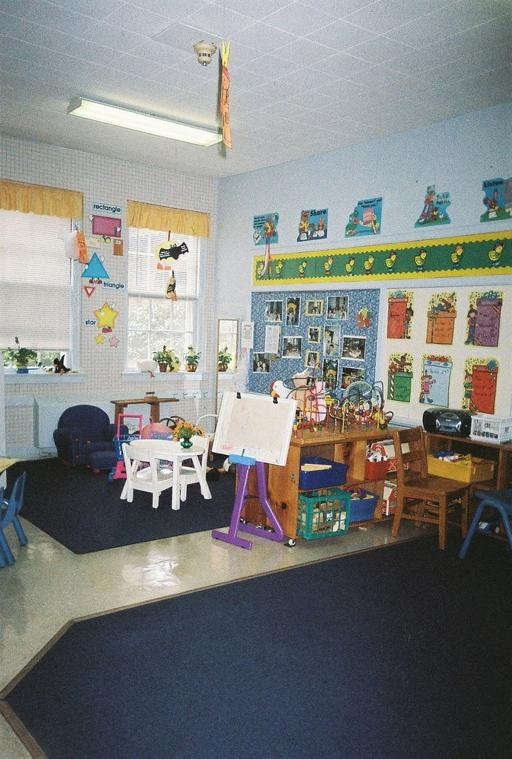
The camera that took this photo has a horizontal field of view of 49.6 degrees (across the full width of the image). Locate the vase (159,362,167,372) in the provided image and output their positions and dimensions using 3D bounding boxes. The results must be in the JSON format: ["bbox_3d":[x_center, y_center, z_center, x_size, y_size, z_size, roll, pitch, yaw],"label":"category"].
[{"bbox_3d":[-1.405,-0.184,8.365,0.131,0.158,0.078,1,3,-27],"label":"vase"}]

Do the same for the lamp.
[{"bbox_3d":[-1.116,-2.694,5.797,1.604,0.169,0.558,1,3,-35],"label":"lamp"}]

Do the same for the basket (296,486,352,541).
[{"bbox_3d":[0.554,1.117,4.531,0.383,0.271,0.231,1,-10,-20],"label":"basket"}]

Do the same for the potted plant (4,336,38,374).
[{"bbox_3d":[-3.018,-0.315,7.061,0.449,0.503,0.448,0,1,-30],"label":"potted plant"}]

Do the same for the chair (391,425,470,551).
[{"bbox_3d":[1.469,0.860,4.620,0.607,0.837,0.619,-2,4,-19],"label":"chair"}]

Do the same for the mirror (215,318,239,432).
[{"bbox_3d":[-0.435,-0.228,8.222,0.343,1.338,0.483,2,3,-4],"label":"mirror"}]

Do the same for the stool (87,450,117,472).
[{"bbox_3d":[-1.823,0.927,6.533,0.266,0.224,0.263,-1,2,-39],"label":"stool"}]

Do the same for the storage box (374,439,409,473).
[{"bbox_3d":[1.187,0.678,4.880,0.203,0.255,0.368,-4,7,-24],"label":"storage box"}]

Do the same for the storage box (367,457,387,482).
[{"bbox_3d":[1.064,0.804,4.962,0.199,0.159,0.162,3,-4,-27],"label":"storage box"}]

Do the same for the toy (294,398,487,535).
[{"bbox_3d":[1.155,0.737,4.760,1.059,0.789,1.262,-5,7,-44],"label":"toy"}]

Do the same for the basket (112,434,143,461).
[{"bbox_3d":[-1.370,0.722,5.864,0.246,0.255,0.296,11,12,41],"label":"basket"}]

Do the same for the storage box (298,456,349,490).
[{"bbox_3d":[0.431,0.775,4.590,0.435,0.196,0.521,5,3,44],"label":"storage box"}]

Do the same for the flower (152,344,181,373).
[{"bbox_3d":[-1.357,-0.317,8.484,0.502,0.418,0.213,0,4,-43],"label":"flower"}]

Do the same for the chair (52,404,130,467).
[{"bbox_3d":[-2.048,0.730,6.882,0.721,0.806,0.866,0,2,-35],"label":"chair"}]

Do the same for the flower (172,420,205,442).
[{"bbox_3d":[-0.689,0.532,5.482,0.221,0.214,0.261,2,5,-7],"label":"flower"}]

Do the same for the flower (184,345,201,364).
[{"bbox_3d":[-1.008,-0.383,8.698,0.232,0.285,0.288,-2,-7,-1],"label":"flower"}]

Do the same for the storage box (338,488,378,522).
[{"bbox_3d":[0.916,1.092,4.769,0.330,0.240,0.264,-4,7,-36],"label":"storage box"}]

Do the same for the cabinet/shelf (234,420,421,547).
[{"bbox_3d":[0.519,0.464,4.827,1.582,1.097,0.854,-2,5,-37],"label":"cabinet/shelf"}]

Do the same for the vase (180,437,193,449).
[{"bbox_3d":[-0.680,0.606,5.408,0.105,0.098,0.101,-2,8,-19],"label":"vase"}]

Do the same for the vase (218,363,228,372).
[{"bbox_3d":[-0.486,-0.191,8.326,0.117,0.082,0.116,1,-1,-29],"label":"vase"}]

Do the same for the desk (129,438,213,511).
[{"bbox_3d":[-0.840,0.898,5.500,0.771,0.528,0.801,-3,2,-44],"label":"desk"}]

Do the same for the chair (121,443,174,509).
[{"bbox_3d":[-1.039,0.903,5.453,0.470,0.565,0.493,0,6,19],"label":"chair"}]
